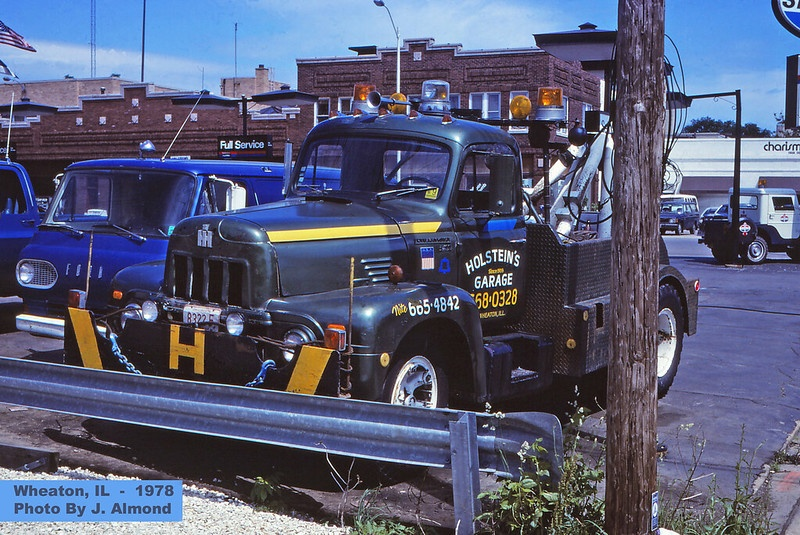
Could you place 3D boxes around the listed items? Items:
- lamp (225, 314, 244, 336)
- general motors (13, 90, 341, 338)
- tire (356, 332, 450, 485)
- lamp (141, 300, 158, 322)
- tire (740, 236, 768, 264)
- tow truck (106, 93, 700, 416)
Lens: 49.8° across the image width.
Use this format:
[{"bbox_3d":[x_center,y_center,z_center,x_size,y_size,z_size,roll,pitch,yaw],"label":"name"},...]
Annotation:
[{"bbox_3d":[-1.568,0.529,8.160,0.190,0.196,0.183,-2,2,44],"label":"lamp"},{"bbox_3d":[-3.449,-0.471,12.619,2.340,2.227,3.772,2,3,35],"label":"general motors"},{"bbox_3d":[0.025,1.355,8.450,0.492,1.378,1.151,6,7,40],"label":"tire"},{"bbox_3d":[-2.499,0.429,8.620,0.167,0.203,0.190,0,-3,25],"label":"lamp"},{"bbox_3d":[12.412,-0.624,30.449,0.873,0.894,0.312,4,8,-3],"label":"tire"},{"bbox_3d":[0.486,0.073,9.783,3.335,2.607,5.357,0,-3,41],"label":"tow truck"}]
